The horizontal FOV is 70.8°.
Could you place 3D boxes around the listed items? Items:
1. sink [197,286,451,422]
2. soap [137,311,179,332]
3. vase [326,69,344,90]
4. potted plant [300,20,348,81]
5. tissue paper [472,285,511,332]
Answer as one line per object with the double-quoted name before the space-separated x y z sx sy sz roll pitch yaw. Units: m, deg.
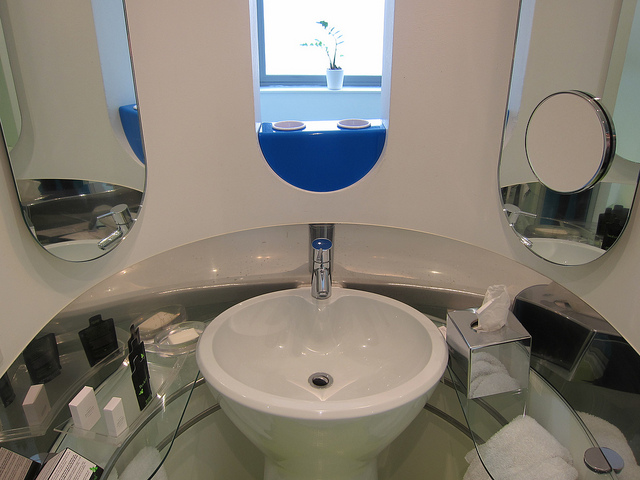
"sink" 0.008 0.333 1.334 0.710 0.258 0.544 -5 18 -8
"soap" -0.502 0.249 1.395 0.053 0.015 0.054 -7 22 -8
"vase" 0.112 -1.196 3.378 0.131 0.128 0.133 12 35 15
"potted plant" 0.065 -1.447 3.422 0.296 0.123 0.367 7 47 -22
"tissue paper" 0.471 0.186 1.243 0.101 0.101 0.080 0 17 7
